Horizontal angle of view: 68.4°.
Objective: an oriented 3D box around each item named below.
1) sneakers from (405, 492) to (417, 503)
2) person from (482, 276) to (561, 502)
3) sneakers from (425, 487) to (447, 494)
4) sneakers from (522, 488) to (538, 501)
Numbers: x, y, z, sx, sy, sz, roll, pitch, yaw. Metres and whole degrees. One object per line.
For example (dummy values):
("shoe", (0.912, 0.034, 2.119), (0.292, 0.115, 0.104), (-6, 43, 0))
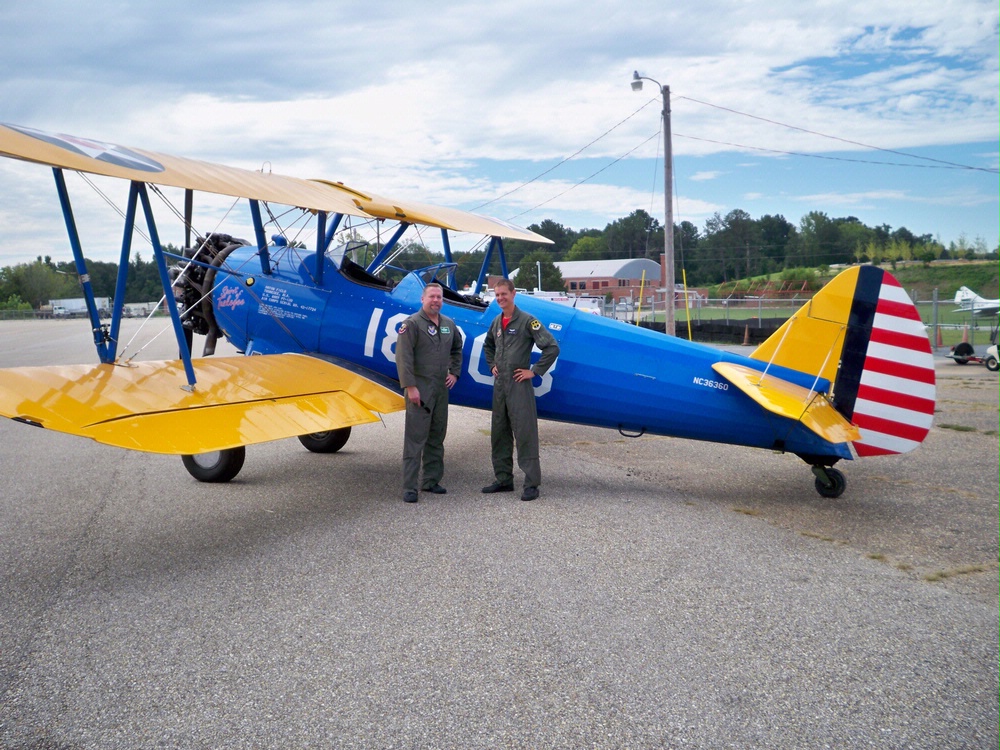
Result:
("sneakers", (-0.775, 1.074, 6.433), (0.091, 0.056, 0.151), (0, -3, -9))
("person", (0.120, 0.126, 6.596), (0.635, 1.947, 0.478), (7, 14, 30))
("sneakers", (-0.576, 1.061, 6.779), (0.203, 0.076, 0.070), (-3, 1, 14))
("sneakers", (0.271, 1.062, 6.530), (0.140, 0.090, 0.138), (0, 10, 2))
